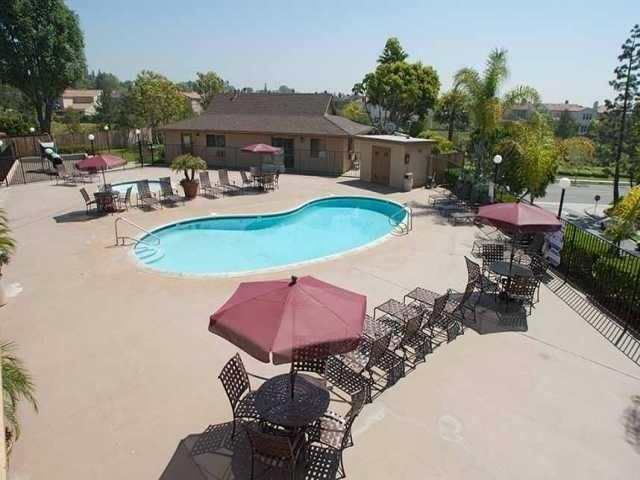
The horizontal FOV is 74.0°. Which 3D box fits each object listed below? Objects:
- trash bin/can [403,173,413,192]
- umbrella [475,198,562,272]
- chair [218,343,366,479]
[{"bbox_3d":[5.592,-3.696,27.000,0.538,1.091,0.464,1,15,-3],"label":"trash bin/can"},{"bbox_3d":[5.858,0.013,12.721,2.079,2.490,2.180,9,26,17],"label":"umbrella"},{"bbox_3d":[-0.555,3.156,8.064,2.255,1.563,2.112,27,46,25],"label":"chair"}]
